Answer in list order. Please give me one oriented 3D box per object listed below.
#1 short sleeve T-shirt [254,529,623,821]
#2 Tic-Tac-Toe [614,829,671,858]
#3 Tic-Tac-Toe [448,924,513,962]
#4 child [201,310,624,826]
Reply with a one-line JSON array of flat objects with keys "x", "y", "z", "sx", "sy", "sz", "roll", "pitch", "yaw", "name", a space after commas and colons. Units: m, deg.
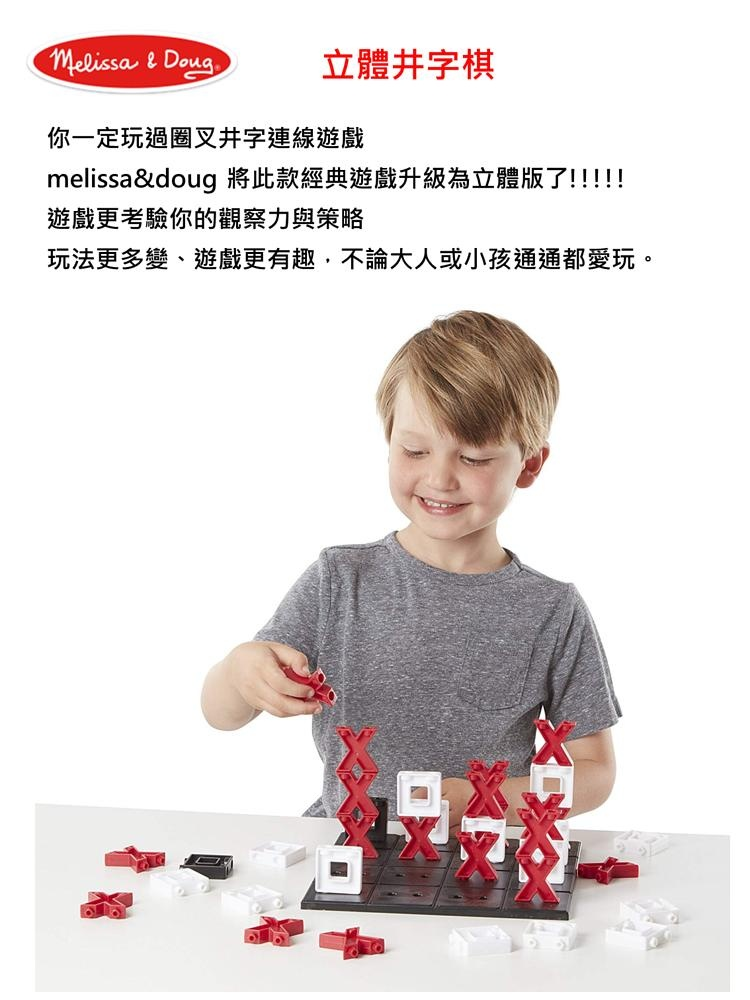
[{"x": 0.090, "y": 0.319, "z": 2.384, "sx": 0.700, "sy": 0.687, "sz": 0.560, "roll": -4, "pitch": 9, "yaw": -29, "name": "short sleeve T-shirt"}, {"x": 0.455, "y": 0.591, "z": 1.814, "sx": 0.049, "sy": 0.017, "sz": 0.049, "roll": 4, "pitch": 8, "yaw": 37, "name": "Tic-Tac-Toe"}, {"x": 0.142, "y": 0.600, "z": 1.437, "sx": 0.094, "sy": 0.022, "sz": 0.096, "roll": 0, "pitch": 0, "yaw": -8, "name": "Tic-Tac-Toe"}, {"x": 0.096, "y": 0.239, "z": 2.326, "sx": 0.639, "sy": 1.277, "sz": 0.634, "roll": 0, "pitch": 10, "yaw": 4, "name": "child"}]
